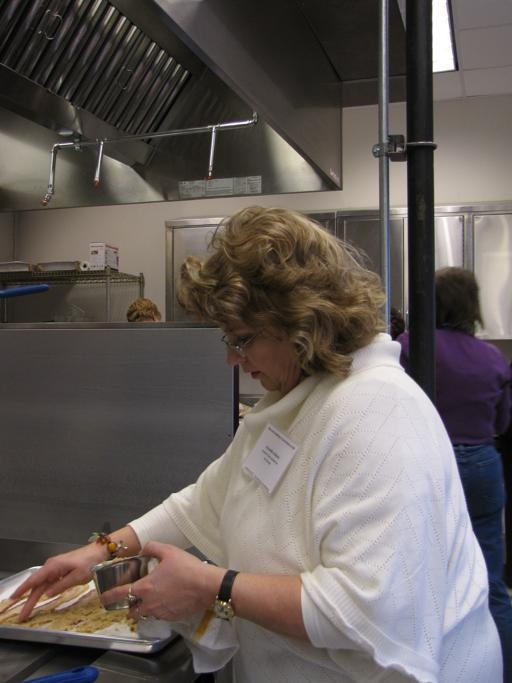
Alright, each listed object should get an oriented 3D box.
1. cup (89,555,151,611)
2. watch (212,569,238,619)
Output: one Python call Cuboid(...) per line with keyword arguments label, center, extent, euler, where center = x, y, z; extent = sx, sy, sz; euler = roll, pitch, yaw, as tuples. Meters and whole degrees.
Cuboid(label="cup", center=(-0.197, 0.338, 0.791), extent=(0.078, 0.064, 0.082), euler=(-4, -20, -2))
Cuboid(label="watch", center=(-0.038, 0.325, 0.698), extent=(0.029, 0.057, 0.023), euler=(0, -2, -2))
